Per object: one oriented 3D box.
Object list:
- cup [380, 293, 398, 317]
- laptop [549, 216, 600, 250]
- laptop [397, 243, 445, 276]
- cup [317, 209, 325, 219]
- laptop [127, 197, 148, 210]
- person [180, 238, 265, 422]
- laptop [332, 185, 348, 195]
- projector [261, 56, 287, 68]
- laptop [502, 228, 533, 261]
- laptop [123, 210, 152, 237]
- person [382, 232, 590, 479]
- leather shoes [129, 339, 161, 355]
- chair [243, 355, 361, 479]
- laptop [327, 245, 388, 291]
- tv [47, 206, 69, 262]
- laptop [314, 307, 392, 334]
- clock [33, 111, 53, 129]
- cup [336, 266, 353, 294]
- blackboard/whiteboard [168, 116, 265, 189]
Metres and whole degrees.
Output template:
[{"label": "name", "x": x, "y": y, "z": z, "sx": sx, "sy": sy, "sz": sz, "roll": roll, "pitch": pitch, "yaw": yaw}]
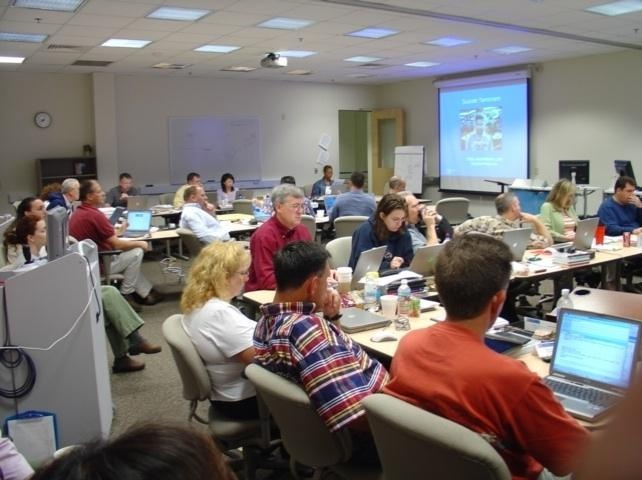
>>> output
[{"label": "cup", "x": 0.404, "y": 0.396, "z": 2.823, "sx": 0.116, "sy": 0.119, "sz": 0.115, "roll": 0, "pitch": 9, "yaw": 0}, {"label": "laptop", "x": 2.506, "y": -0.078, "z": 4.605, "sx": 0.387, "sy": 0.274, "sz": 0.285, "roll": -8, "pitch": 19, "yaw": -37}, {"label": "laptop", "x": 0.769, "y": 0.157, "z": 3.476, "sx": 0.354, "sy": 0.227, "sz": 0.288, "roll": -3, "pitch": 16, "yaw": -34}, {"label": "cup", "x": -0.014, "y": -0.424, "z": 7.683, "sx": 0.126, "sy": 0.116, "sz": 0.159, "roll": 0, "pitch": 0, "yaw": 4}, {"label": "laptop", "x": -3.034, "y": -0.598, "z": 7.670, "sx": 0.303, "sy": 0.203, "sz": 0.219, "roll": 0, "pitch": 13, "yaw": -25}, {"label": "person", "x": -0.428, "y": 0.496, "z": 2.485, "sx": 0.566, "sy": 0.913, "sz": 0.487, "roll": -5, "pitch": 2, "yaw": -28}, {"label": "laptop", "x": 0.396, "y": -1.024, "z": 9.430, "sx": 0.261, "sy": 0.275, "sz": 0.214, "roll": -13, "pitch": 15, "yaw": -35}, {"label": "projector", "x": -0.774, "y": -2.910, "z": 7.680, "sx": 0.390, "sy": 0.141, "sz": 0.211, "roll": 0, "pitch": 3, "yaw": -21}, {"label": "laptop", "x": 1.605, "y": 0.029, "z": 3.810, "sx": 0.269, "sy": 0.188, "sz": 0.195, "roll": -3, "pitch": 13, "yaw": -33}, {"label": "laptop", "x": -2.441, "y": -0.209, "z": 6.175, "sx": 0.372, "sy": 0.263, "sz": 0.314, "roll": 1, "pitch": -1, "yaw": -1}, {"label": "person", "x": 0.628, "y": 0.429, "z": 1.866, "sx": 0.707, "sy": 0.927, "sz": 0.546, "roll": 11, "pitch": 31, "yaw": 39}, {"label": "leather shoes", "x": -1.538, "y": 0.954, "z": 4.107, "sx": 0.299, "sy": 0.135, "sz": 0.111, "roll": -2, "pitch": 4, "yaw": -22}, {"label": "chair", "x": -0.096, "y": 0.732, "z": 1.943, "sx": 0.407, "sy": 0.436, "sz": 0.415, "roll": -9, "pitch": 9, "yaw": -23}, {"label": "laptop", "x": 0.245, "y": 0.163, "z": 3.392, "sx": 0.287, "sy": 0.264, "sz": 0.393, "roll": 29, "pitch": 27, "yaw": 36}, {"label": "tv", "x": -1.396, "y": -0.044, "z": 2.452, "sx": 0.098, "sy": 0.254, "sz": 0.314, "roll": -6, "pitch": 13, "yaw": -25}, {"label": "laptop", "x": 0.172, "y": 0.429, "z": 2.453, "sx": 0.198, "sy": 0.029, "sz": 0.210, "roll": -4, "pitch": 9, "yaw": -34}, {"label": "clock", "x": -5.538, "y": -2.377, "z": 9.224, "sx": 0.323, "sy": 0.343, "sz": 0.092, "roll": -6, "pitch": 13, "yaw": -27}, {"label": "cup", "x": 0.154, "y": 0.272, "z": 3.144, "sx": 0.148, "sy": 0.179, "sz": 0.157, "roll": -1, "pitch": 4, "yaw": 0}, {"label": "blackboard/whiteboard", "x": -2.452, "y": -1.976, "z": 10.419, "sx": 2.244, "sy": 1.526, "sz": 0.086, "roll": -3, "pitch": 4, "yaw": -30}]
